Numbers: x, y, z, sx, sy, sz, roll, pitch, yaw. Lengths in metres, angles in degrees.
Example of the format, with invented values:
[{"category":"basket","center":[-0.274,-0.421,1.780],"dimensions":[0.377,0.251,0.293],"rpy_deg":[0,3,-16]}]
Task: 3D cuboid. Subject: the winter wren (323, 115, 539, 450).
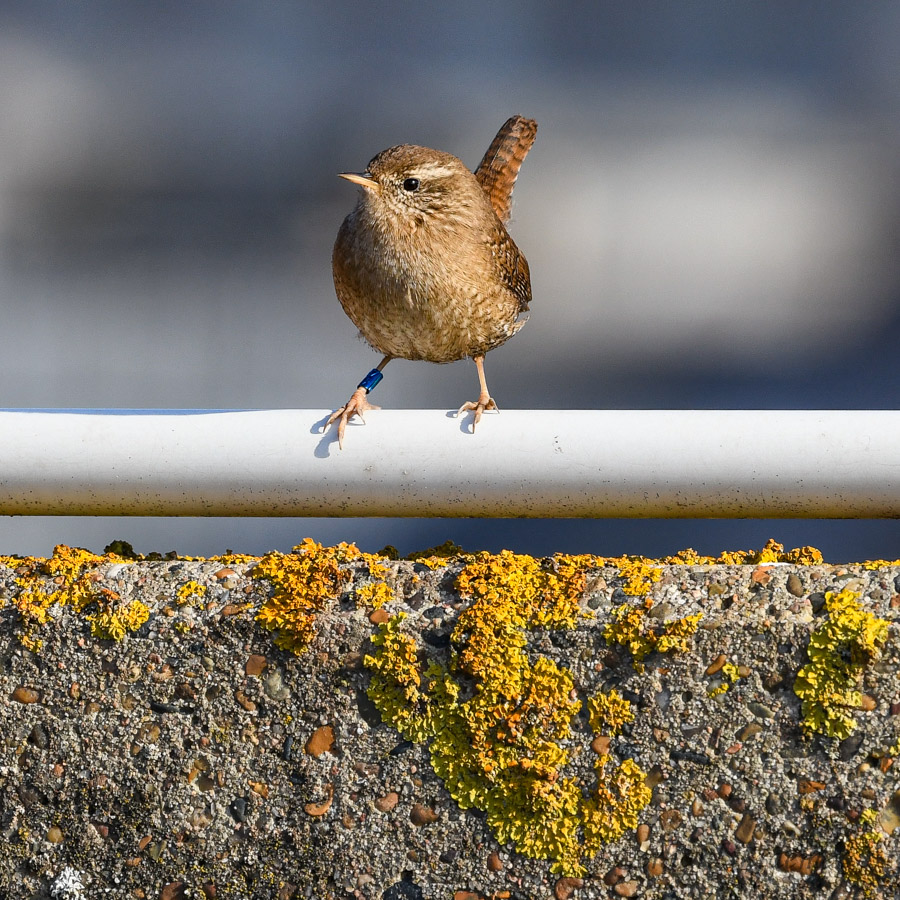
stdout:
[{"category":"winter wren","center":[-0.005,-0.424,4.207],"dimensions":[0.417,0.645,0.835],"rpy_deg":[7,17,23]}]
